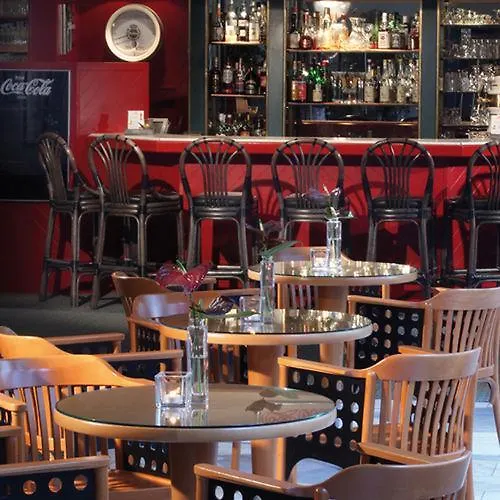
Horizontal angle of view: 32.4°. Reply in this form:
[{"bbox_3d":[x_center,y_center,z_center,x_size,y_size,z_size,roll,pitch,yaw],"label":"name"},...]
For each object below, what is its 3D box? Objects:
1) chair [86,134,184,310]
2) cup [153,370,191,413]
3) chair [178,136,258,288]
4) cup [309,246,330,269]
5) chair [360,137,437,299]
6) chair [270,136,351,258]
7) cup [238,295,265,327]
[{"bbox_3d":[-0.746,-0.202,5.520,0.407,1.119,0.524,2,11,5],"label":"chair"},{"bbox_3d":[-0.173,0.313,1.889,0.063,0.083,0.074,0,-1,-1],"label":"cup"},{"bbox_3d":[-0.206,-0.213,5.333,0.403,1.071,0.461,4,15,20],"label":"chair"},{"bbox_3d":[0.309,0.039,3.886,0.071,0.113,0.090,0,1,1],"label":"cup"},{"bbox_3d":[0.904,-0.251,5.232,0.374,1.164,0.479,-1,31,11],"label":"chair"},{"bbox_3d":[0.371,-0.339,5.301,0.483,0.694,0.657,0,4,1],"label":"chair"},{"bbox_3d":[0.005,0.195,2.699,0.069,0.117,0.080,0,-3,-1],"label":"cup"}]
